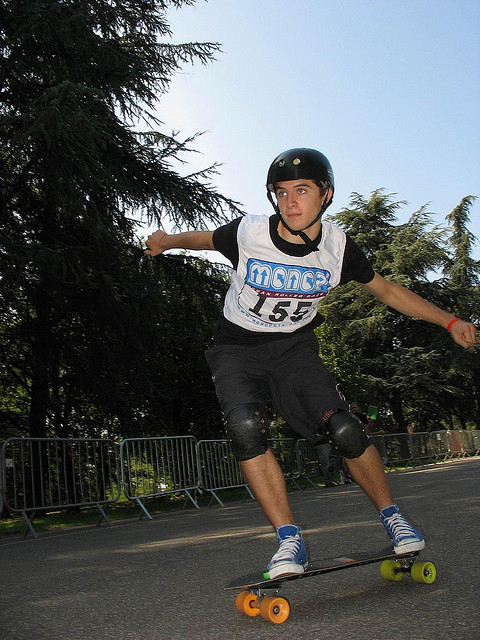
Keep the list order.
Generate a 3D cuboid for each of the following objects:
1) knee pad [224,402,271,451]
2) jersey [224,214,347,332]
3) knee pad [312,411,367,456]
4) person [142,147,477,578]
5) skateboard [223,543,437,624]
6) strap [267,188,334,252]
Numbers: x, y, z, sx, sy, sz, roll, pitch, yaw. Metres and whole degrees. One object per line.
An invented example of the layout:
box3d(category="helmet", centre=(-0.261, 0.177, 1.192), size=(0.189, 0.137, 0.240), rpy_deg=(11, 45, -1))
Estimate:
box3d(category="knee pad", centre=(0.033, 0.441, 1.935), size=(0.156, 0.186, 0.111), rpy_deg=(-9, -7, -6))
box3d(category="jersey", centre=(0.154, -0.201, 2.151), size=(0.501, 0.318, 0.596), rpy_deg=(8, -56, -20))
box3d(category="knee pad", centre=(0.413, 0.502, 2.017), size=(0.262, 0.207, 0.196), rpy_deg=(-13, -8, 27))
box3d(category="person", centre=(0.340, 0.125, 2.133), size=(1.053, 1.685, 0.851), rpy_deg=(-7, -8, -19))
box3d(category="skateboard", centre=(0.336, 0.892, 1.587), size=(0.737, 0.149, 0.221), rpy_deg=(-1, -24, -19))
box3d(category="strap", centre=(0.285, -0.447, 2.039), size=(0.284, 0.325, 0.187), rpy_deg=(-10, -7, 4))
